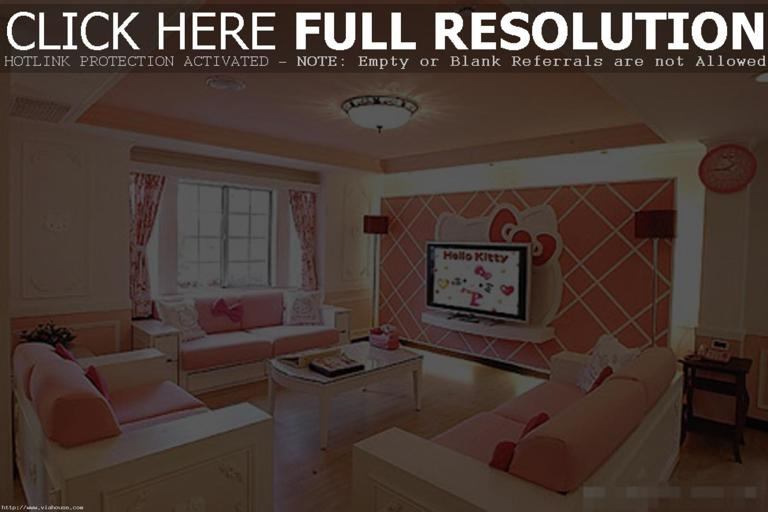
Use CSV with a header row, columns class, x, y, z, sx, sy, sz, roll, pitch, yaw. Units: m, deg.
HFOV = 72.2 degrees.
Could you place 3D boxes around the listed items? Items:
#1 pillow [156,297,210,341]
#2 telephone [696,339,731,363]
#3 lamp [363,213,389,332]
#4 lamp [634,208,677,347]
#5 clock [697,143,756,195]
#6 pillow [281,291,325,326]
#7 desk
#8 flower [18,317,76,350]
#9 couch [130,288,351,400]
class,x,y,z,sx,sy,sz,roll,pitch,yaw
pillow,-2.233,0.693,5.794,0.460,0.410,0.482,-4,11,-31
telephone,3.064,0.855,4.844,0.261,0.088,0.183,-12,8,-44
lamp,-0.129,0.243,7.744,0.384,1.676,0.458,1,10,-1
lamp,2.645,0.378,5.171,0.385,1.623,0.326,1,-2,20
clock,3.176,-0.819,4.891,0.418,0.428,0.095,-6,-32,41
pillow,-1.040,0.666,6.712,0.481,0.482,0.167,0,1,-10
desk,3.036,1.352,4.852,0.534,0.837,0.479,6,10,41
flower,-3.116,0.746,4.898,0.440,0.257,0.456,3,-7,-24
couch,-1.585,0.936,6.247,2.440,1.050,1.010,-3,1,-44
